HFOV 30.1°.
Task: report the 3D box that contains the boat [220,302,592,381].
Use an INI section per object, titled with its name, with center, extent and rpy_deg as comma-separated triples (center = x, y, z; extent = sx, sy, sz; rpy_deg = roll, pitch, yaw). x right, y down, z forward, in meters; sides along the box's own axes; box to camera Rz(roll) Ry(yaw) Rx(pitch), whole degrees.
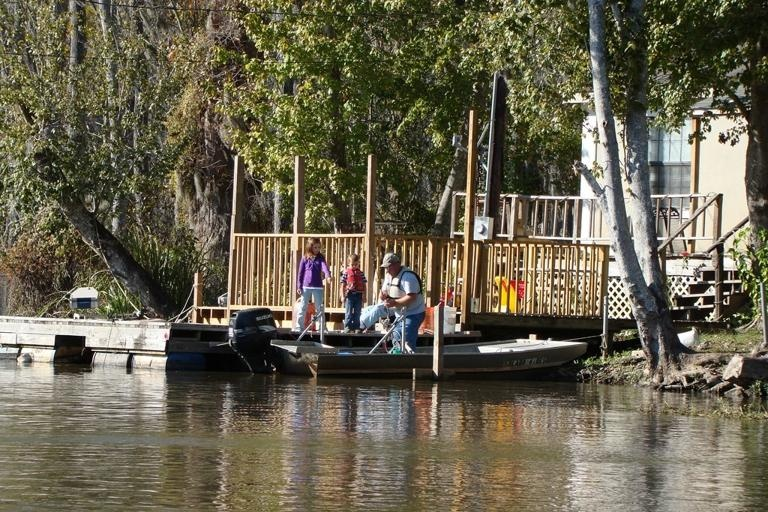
[boat]
center = 0.242, 1.851, 30.593
extent = 7.167, 1.532, 1.681
rpy_deg = 0, -4, -10

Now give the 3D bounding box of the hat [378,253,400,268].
[hat]
center = 0.164, 0.083, 29.438
extent = 0.362, 0.218, 0.249
rpy_deg = 0, -1, -39

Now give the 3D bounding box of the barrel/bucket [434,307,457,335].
[barrel/bucket]
center = 1.300, 1.396, 31.112
extent = 0.610, 0.791, 0.544
rpy_deg = 1, -2, -14

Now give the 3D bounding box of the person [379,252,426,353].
[person]
center = 0.376, 0.978, 29.756
extent = 0.896, 2.017, 1.177
rpy_deg = -1, -3, 0
